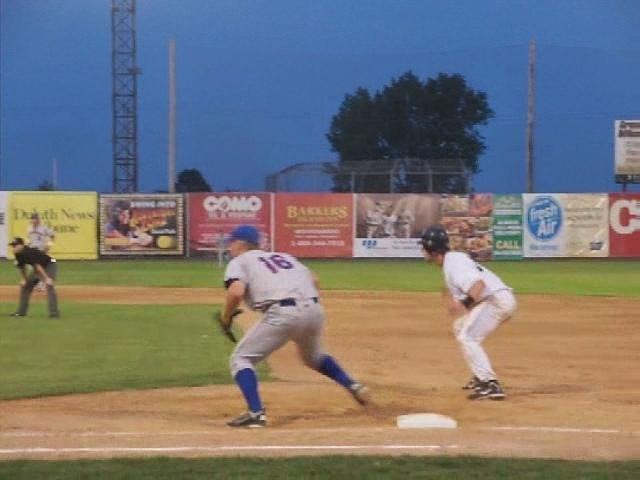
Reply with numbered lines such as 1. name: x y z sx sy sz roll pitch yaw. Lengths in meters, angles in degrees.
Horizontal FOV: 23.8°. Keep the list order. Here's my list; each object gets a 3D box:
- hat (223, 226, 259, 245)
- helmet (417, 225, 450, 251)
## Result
1. hat: -1.514 -0.113 30.865 0.499 0.486 0.388 8 8 38
2. helmet: 2.406 -0.020 31.857 0.439 0.471 0.574 -4 22 -9
